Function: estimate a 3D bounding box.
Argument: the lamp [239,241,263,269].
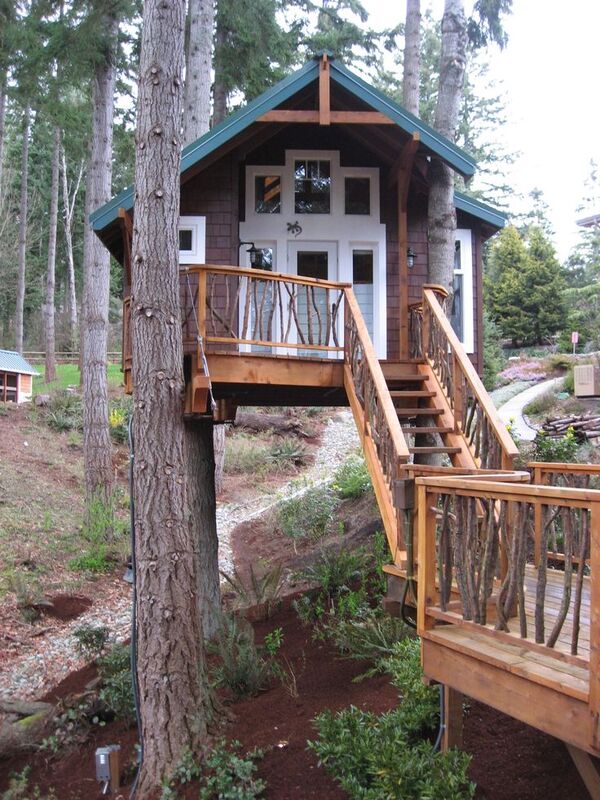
[{"bbox_3d":[-0.705,-2.083,10.018,0.346,0.417,0.343,0,3,-3],"label":"lamp"}]

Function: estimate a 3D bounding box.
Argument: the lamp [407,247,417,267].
[{"bbox_3d":[1.611,-2.054,10.119,0.188,0.299,0.240,0,9,6],"label":"lamp"}]
